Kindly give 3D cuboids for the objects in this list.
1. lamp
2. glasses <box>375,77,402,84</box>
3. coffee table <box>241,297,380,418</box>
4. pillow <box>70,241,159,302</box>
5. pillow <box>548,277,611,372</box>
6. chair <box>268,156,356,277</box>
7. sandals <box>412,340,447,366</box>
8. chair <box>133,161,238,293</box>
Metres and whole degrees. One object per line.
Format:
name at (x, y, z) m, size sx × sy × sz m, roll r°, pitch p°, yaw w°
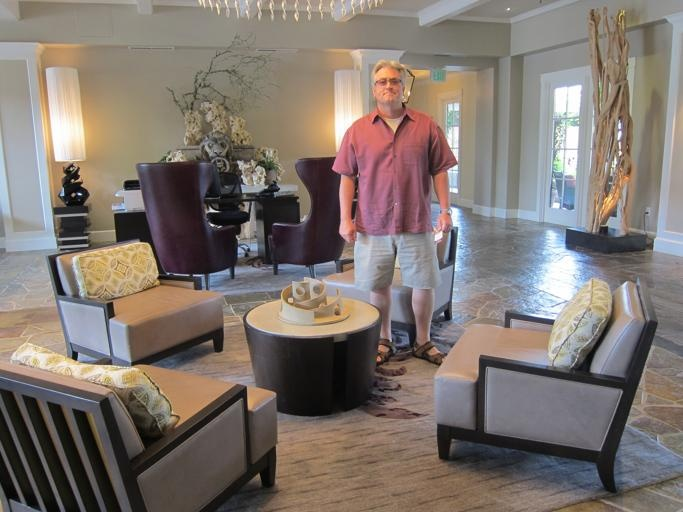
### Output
lamp at (-3.790, -1.654, 7.129) m, size 0.434 × 1.887 × 0.551 m, roll -8°, pitch 16°, yaw -23°
glasses at (0.273, -1.020, 2.991) m, size 0.144 × 0.038 × 0.046 m, roll -1°, pitch 14°, yaw 1°
coffee table at (-0.150, 0.580, 3.032) m, size 0.814 × 0.519 × 0.787 m, roll -4°, pitch 13°, yaw -16°
pillow at (-1.504, 0.122, 3.460) m, size 0.185 × 0.334 × 0.569 m, roll 6°, pitch 12°, yaw 31°
pillow at (1.066, 0.312, 2.273) m, size 0.233 × 0.319 × 0.390 m, roll 7°, pitch 16°, yaw 28°
chair at (-0.294, -0.370, 5.209) m, size 0.844 × 1.135 × 0.842 m, roll 1°, pitch 10°, yaw 1°
sandals at (0.562, 0.629, 3.322) m, size 0.095 × 0.103 × 0.236 m, roll -15°, pitch 19°, yaw -40°
chair at (-1.465, -0.286, 4.876) m, size 0.768 × 1.152 × 0.879 m, roll 2°, pitch 8°, yaw 27°
